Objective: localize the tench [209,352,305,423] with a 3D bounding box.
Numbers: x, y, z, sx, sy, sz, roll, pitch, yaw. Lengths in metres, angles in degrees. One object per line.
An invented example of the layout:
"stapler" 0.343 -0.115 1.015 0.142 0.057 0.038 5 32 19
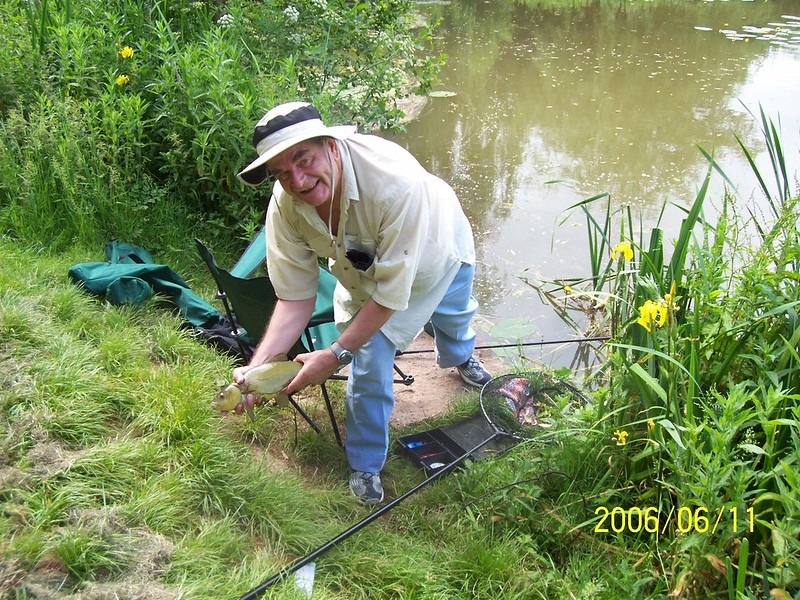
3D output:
"tench" -0.657 0.420 3.497 0.573 0.222 0.162 -17 25 -28

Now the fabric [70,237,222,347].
"fabric" -1.745 -0.058 4.951 0.263 0.772 0.712 -50 10 -2

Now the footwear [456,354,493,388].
"footwear" 0.544 0.504 5.067 0.321 0.156 0.142 33 74 38

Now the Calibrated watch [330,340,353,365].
"Calibrated watch" -0.307 0.271 3.670 0.053 0.083 0.088 -36 -13 -8

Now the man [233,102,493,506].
"man" -0.224 -0.045 4.106 0.960 2.242 1.854 16 32 40
